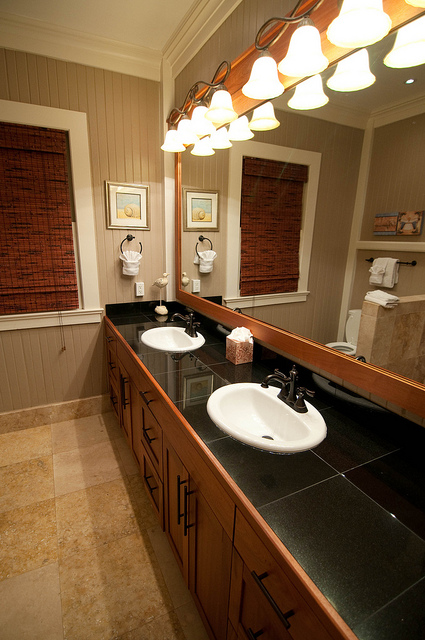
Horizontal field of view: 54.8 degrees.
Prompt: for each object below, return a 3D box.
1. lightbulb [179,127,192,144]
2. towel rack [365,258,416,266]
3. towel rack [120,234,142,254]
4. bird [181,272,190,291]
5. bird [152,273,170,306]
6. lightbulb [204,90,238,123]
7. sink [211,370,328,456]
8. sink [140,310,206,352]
[{"bbox_3d":[-0.134,-0.887,1.964,0.061,0.057,0.098,2,14,1],"label":"lightbulb"},{"bbox_3d":[0.505,-0.166,1.166,0.003,0.021,0.185,-4,15,-19],"label":"towel rack"},{"bbox_3d":[-0.577,-0.524,2.821,0.123,0.132,0.046,-2,17,-38],"label":"towel rack"},{"bbox_3d":[-0.194,-0.249,2.741,0.066,0.141,0.101,-3,7,-21],"label":"bird"},{"bbox_3d":[-0.366,-0.270,2.870,0.102,0.116,0.133,0,14,-6],"label":"bird"},{"bbox_3d":[0.018,-0.779,1.493,0.104,0.110,0.118,-2,14,-12],"label":"lightbulb"},{"bbox_3d":[0.192,0.310,1.361,0.219,0.217,0.327,-5,16,-23],"label":"sink"},{"bbox_3d":[-0.233,0.080,2.213,0.320,0.204,0.493,-5,16,-25],"label":"sink"}]
